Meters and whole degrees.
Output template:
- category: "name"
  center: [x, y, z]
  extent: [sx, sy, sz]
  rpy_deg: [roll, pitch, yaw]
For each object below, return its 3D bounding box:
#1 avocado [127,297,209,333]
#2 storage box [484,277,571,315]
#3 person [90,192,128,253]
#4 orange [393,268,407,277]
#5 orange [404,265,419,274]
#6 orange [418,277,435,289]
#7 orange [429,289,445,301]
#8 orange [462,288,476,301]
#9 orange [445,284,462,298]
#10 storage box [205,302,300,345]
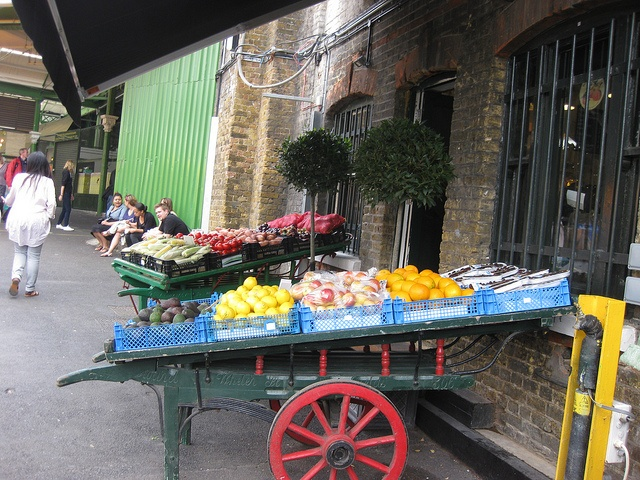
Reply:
- category: "avocado"
  center: [-1.270, 0.607, 4.826]
  extent: [0.522, 0.294, 0.440]
  rpy_deg: [4, 5, -4]
- category: "storage box"
  center: [1.576, 0.421, 4.507]
  extent: [0.531, 0.302, 0.543]
  rpy_deg: [6, 3, -8]
- category: "person"
  center: [-5.300, -0.433, 14.308]
  extent: [0.523, 1.503, 0.768]
  rpy_deg: [4, -2, 40]
- category: "orange"
  center: [0.713, 0.288, 5.159]
  extent: [0.082, 0.083, 0.074]
  rpy_deg: [-1, -12, 32]
- category: "orange"
  center: [0.848, 0.281, 5.347]
  extent: [0.110, 0.091, 0.122]
  rpy_deg: [0, 5, 13]
- category: "orange"
  center: [0.891, 0.341, 4.805]
  extent: [0.108, 0.107, 0.101]
  rpy_deg: [16, -1, 28]
- category: "orange"
  center: [0.928, 0.434, 4.554]
  extent: [0.092, 0.095, 0.086]
  rpy_deg: [-4, 16, -9]
- category: "orange"
  center: [1.177, 0.429, 4.524]
  extent: [0.067, 0.095, 0.073]
  rpy_deg: [13, -16, -5]
- category: "orange"
  center: [1.054, 0.408, 4.547]
  extent: [0.094, 0.132, 0.102]
  rpy_deg: [4, -11, 8]
- category: "storage box"
  center: [-0.525, 0.622, 4.459]
  extent: [0.530, 0.266, 0.473]
  rpy_deg: [2, 3, -12]
